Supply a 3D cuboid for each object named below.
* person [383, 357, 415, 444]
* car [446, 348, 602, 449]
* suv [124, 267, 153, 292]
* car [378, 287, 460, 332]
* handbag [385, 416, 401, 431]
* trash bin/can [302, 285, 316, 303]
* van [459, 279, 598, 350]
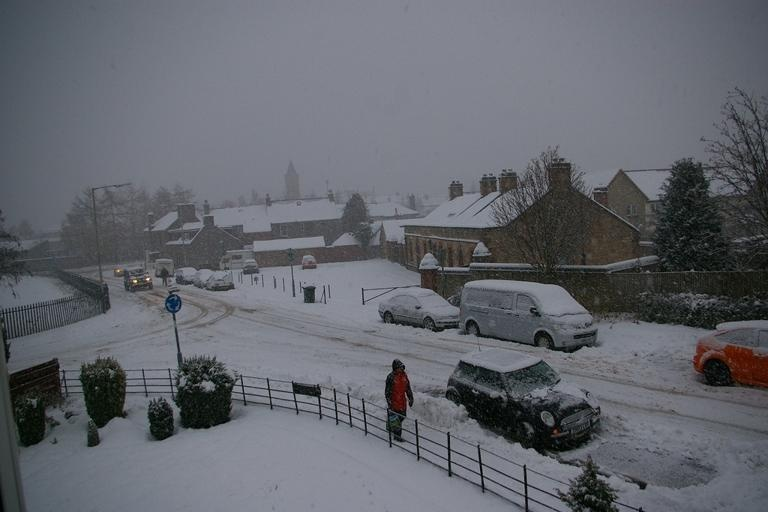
[{"bbox_3d":[0.484,4.569,19.307,0.715,2.474,1.465,2,7,33],"label":"person"},{"bbox_3d":[4.364,4.554,20.160,2.922,2.379,4.836,-9,10,-39],"label":"car"},{"bbox_3d":[-20.380,2.001,49.894,2.336,1.694,1.797,2,7,40],"label":"suv"},{"bbox_3d":[1.878,2.613,29.916,1.656,1.441,3.690,0,-2,-37],"label":"car"},{"bbox_3d":[0.296,5.301,18.924,0.456,0.626,0.322,-3,-2,-11],"label":"handbag"},{"bbox_3d":[-4.689,2.506,38.754,0.941,1.330,0.990,0,-1,-23],"label":"trash bin/can"},{"bbox_3d":[6.181,2.607,26.215,4.791,2.347,2.654,0,2,40],"label":"van"}]
